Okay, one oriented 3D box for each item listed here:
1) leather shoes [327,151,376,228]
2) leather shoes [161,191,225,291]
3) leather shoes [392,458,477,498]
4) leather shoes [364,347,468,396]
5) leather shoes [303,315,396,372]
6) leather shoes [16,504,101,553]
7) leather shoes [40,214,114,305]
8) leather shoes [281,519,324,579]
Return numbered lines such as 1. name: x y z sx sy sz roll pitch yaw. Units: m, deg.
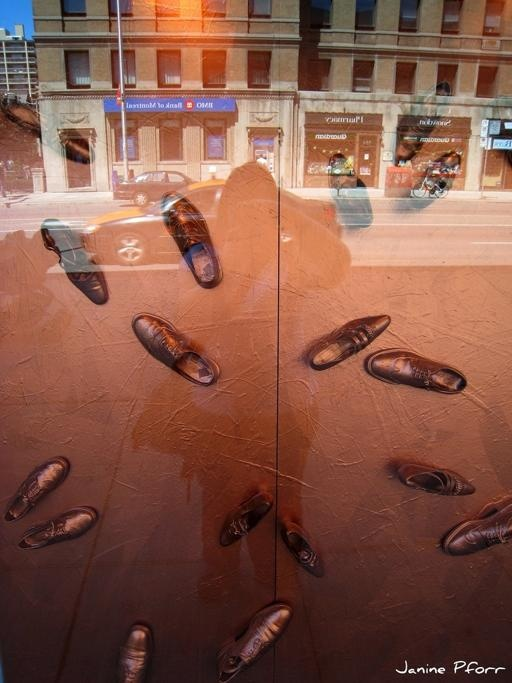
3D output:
1. leather shoes: 0.239 -0.394 1.252 0.071 0.214 0.090 -20 41 9
2. leather shoes: -0.167 -0.286 1.364 0.109 0.262 0.097 -26 21 4
3. leather shoes: 0.545 0.431 1.570 0.302 0.099 0.086 8 7 4
4. leather shoes: 0.478 0.090 1.510 0.369 0.111 0.125 6 13 0
5. leather shoes: 0.265 0.001 1.475 0.314 0.107 0.082 -25 13 4
6. leather shoes: -0.617 0.593 1.554 0.312 0.103 0.104 -15 10 0
7. leather shoes: -0.467 -0.224 1.370 0.098 0.270 0.091 -32 24 6
8. leather shoes: 0.148 0.676 1.594 0.102 0.226 0.066 -42 12 5
